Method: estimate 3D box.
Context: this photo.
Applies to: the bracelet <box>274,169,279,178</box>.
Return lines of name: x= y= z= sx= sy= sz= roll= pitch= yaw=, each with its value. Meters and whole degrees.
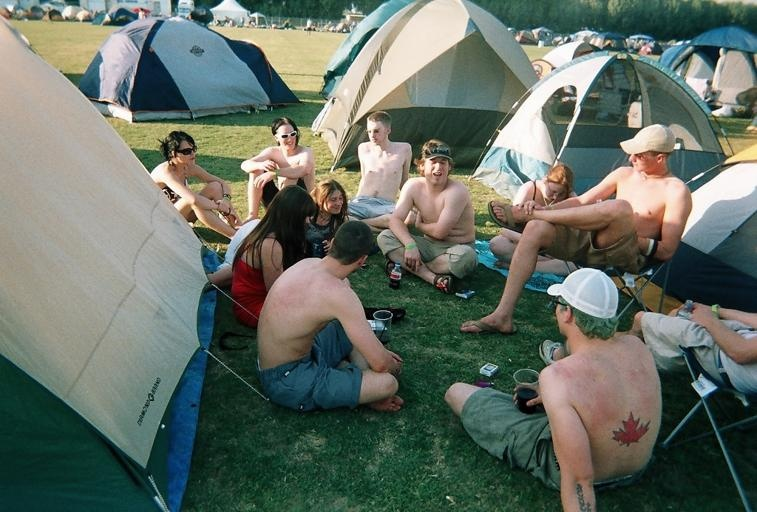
bracelet: x=-1.214 y=-0.996 z=8.007 sx=0.029 sy=0.091 sz=0.085 roll=4 pitch=-10 yaw=-29

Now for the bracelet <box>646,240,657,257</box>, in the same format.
bracelet: x=2.592 y=-0.065 z=6.237 sx=0.047 sy=0.138 sz=0.098 roll=12 pitch=-1 yaw=-6

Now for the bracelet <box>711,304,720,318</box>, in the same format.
bracelet: x=2.797 y=0.462 z=5.429 sx=0.067 sy=0.113 sz=0.061 roll=-4 pitch=40 yaw=26

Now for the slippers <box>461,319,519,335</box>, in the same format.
slippers: x=1.057 y=0.635 z=6.195 sx=0.479 sy=0.120 sz=0.188 roll=3 pitch=2 yaw=1

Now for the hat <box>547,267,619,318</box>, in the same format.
hat: x=1.465 y=0.276 z=4.650 sx=0.377 sy=0.207 sz=0.295 roll=30 pitch=22 yaw=37

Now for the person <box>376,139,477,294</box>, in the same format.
person: x=0.602 y=-0.420 z=6.914 sx=1.017 sy=1.475 sz=1.253 roll=-3 pitch=16 yaw=-14

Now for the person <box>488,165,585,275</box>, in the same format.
person: x=1.760 y=-0.492 z=7.226 sx=0.764 sy=0.974 sz=0.894 roll=12 pitch=23 yaw=-44

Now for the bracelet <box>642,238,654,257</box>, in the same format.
bracelet: x=2.570 y=-0.060 z=6.244 sx=0.045 sy=0.133 sz=0.094 roll=11 pitch=4 yaw=-3

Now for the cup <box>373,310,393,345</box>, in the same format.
cup: x=0.067 y=0.646 z=5.912 sx=0.195 sy=0.291 sz=0.194 roll=-2 pitch=5 yaw=0

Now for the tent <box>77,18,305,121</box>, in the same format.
tent: x=-3.713 y=-3.489 z=13.201 sx=3.128 sy=1.292 sz=2.254 roll=-14 pitch=38 yaw=-42

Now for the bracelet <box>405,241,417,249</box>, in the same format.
bracelet: x=0.351 y=-0.096 z=6.949 sx=0.066 sy=0.081 sz=0.031 roll=3 pitch=25 yaw=-4

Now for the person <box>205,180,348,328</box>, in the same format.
person: x=-0.936 y=-0.034 z=6.210 sx=0.829 sy=1.401 sz=1.184 roll=4 pitch=37 yaw=-24

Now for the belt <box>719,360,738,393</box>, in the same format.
belt: x=2.626 y=0.905 z=4.949 sx=0.134 sy=0.065 sz=0.185 roll=-17 pitch=77 yaw=-50

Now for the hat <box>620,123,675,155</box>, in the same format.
hat: x=2.610 y=-1.096 z=6.347 sx=0.437 sy=0.241 sz=0.297 roll=11 pitch=48 yaw=15

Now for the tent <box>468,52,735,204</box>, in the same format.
tent: x=3.298 y=-2.038 z=9.623 sx=3.018 sy=1.597 sz=2.876 roll=-4 pitch=17 yaw=-19
